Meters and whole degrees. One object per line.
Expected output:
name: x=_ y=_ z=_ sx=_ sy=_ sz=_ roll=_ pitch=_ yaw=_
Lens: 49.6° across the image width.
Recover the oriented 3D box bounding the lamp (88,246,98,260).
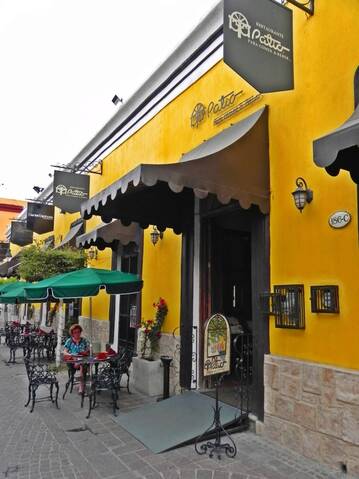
lamp: x=-2.777 y=0.441 z=12.511 sx=0.270 sy=0.459 sz=0.829 roll=1 pitch=-8 yaw=-16

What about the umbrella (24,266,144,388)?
umbrella: x=-1.761 y=1.607 z=7.798 sx=1.865 sy=2.367 sz=2.136 roll=-2 pitch=-3 yaw=7

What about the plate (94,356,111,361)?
plate: x=-1.312 y=2.033 z=6.578 sx=0.251 sy=0.075 sz=0.225 roll=0 pitch=-8 yaw=-14

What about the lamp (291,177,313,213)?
lamp: x=1.403 y=-0.522 z=4.546 sx=0.194 sy=0.409 sz=0.258 roll=0 pitch=-8 yaw=-12

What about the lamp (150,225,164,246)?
lamp: x=-0.513 y=-0.090 z=8.242 sx=0.234 sy=0.394 sz=0.461 roll=2 pitch=-8 yaw=-23
